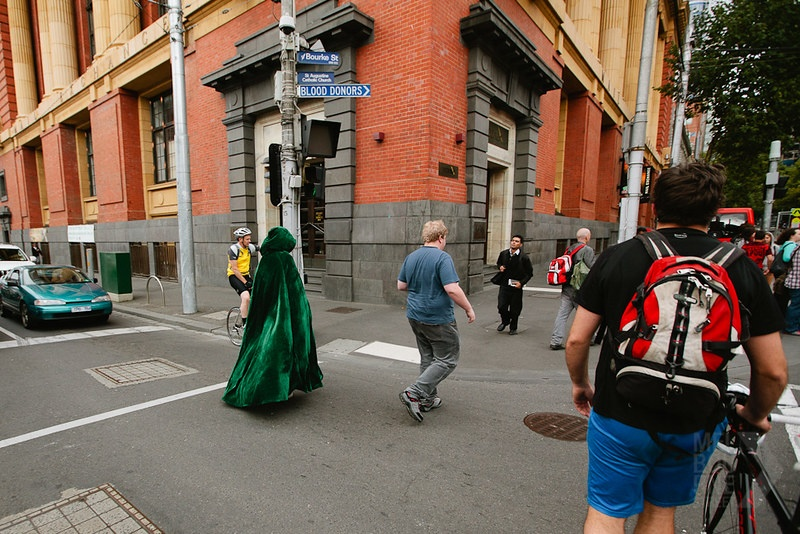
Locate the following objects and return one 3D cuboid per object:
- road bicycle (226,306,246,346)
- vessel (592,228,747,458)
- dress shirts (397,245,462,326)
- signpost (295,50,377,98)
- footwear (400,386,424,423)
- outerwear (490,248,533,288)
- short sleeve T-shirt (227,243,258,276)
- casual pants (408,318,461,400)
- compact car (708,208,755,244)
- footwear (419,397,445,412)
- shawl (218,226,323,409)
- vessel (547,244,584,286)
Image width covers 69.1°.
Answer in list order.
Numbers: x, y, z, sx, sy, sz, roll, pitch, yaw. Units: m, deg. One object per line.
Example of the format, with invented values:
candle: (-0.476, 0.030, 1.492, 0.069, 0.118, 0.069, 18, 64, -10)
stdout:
road bicycle: (-3.880, 1.278, 13.983, 0.253, 0.633, 1.067, 4, -3, -14)
vessel: (4.111, 1.121, 8.698, 1.816, 2.599, 1.512, 6, 27, 15)
dress shirts: (0.540, 0.320, 10.768, 1.032, 1.437, 0.367, -1, 5, 8)
signpost: (-1.588, -4.937, 14.759, 2.229, 1.556, 0.111, 1, -4, 2)
footwear: (0.232, 2.495, 10.772, 0.334, 0.746, 0.256, -31, 6, 6)
outerwear: (2.785, -0.033, 14.129, 1.162, 1.152, 0.816, 6, 2, 27)
short sleeve T-shirt: (-3.995, -0.205, 14.768, 0.515, 0.818, 1.097, -1, 3, 22)
casual pants: (0.610, 1.740, 10.808, 0.916, 1.555, 0.401, -1, 5, 3)
compact car: (16.306, -2.244, 28.845, 1.502, 1.448, 2.672, 10, 15, 24)
footwear: (0.584, 2.606, 10.942, 0.502, 0.219, 0.172, -8, 15, -38)
shawl: (-2.387, 0.942, 11.061, 1.665, 3.417, 0.713, -2, 5, -12)
vessel: (3.580, -0.023, 13.451, 1.045, 0.978, 0.668, -1, 4, -10)
